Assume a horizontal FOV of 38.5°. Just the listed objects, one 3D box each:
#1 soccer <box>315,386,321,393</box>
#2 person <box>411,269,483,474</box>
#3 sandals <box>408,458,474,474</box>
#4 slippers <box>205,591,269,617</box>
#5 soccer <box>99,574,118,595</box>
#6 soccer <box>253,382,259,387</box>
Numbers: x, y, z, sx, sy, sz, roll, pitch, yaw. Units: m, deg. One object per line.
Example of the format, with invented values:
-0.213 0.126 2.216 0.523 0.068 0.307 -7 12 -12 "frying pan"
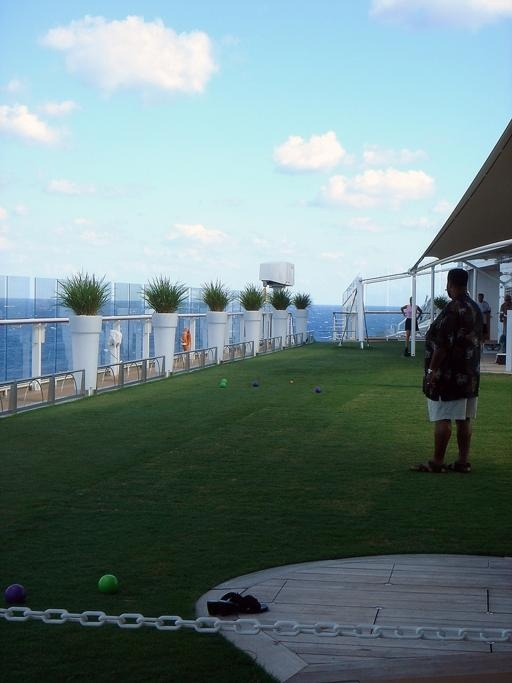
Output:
1.017 0.796 12.046 0.069 0.072 0.064 15 -26 -14 "soccer"
1.529 0.238 5.824 0.481 1.619 0.505 0 -2 16 "person"
1.518 0.987 5.909 0.375 0.087 0.164 2 -5 -2 "sandals"
-0.081 1.090 3.060 0.207 0.062 0.102 0 -1 -8 "slippers"
-0.660 1.090 3.308 0.079 0.075 0.075 2 -29 -8 "soccer"
-0.004 0.757 12.978 0.065 0.060 0.061 16 -23 -26 "soccer"
